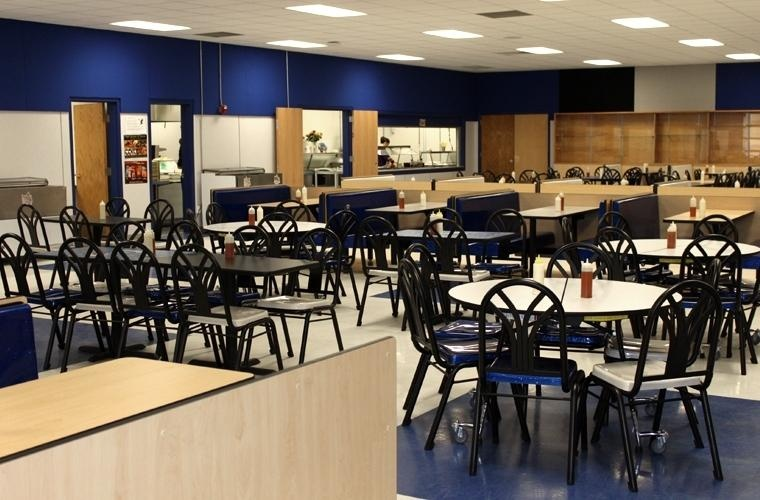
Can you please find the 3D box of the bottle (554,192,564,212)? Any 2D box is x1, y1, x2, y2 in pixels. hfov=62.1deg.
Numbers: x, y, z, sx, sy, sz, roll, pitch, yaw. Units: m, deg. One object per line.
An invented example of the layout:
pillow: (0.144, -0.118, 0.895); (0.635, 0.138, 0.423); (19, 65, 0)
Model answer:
bottle: (2.261, -0.598, 8.002); (0.118, 0.310, 0.329); (1, 1, 27)

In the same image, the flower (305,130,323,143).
flower: (-1.609, -2.735, 15.348); (0.349, 0.259, 0.349); (-3, 6, 5)

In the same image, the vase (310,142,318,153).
vase: (-1.628, -2.495, 15.381); (0.254, 0.232, 0.080); (-2, 10, -12)
